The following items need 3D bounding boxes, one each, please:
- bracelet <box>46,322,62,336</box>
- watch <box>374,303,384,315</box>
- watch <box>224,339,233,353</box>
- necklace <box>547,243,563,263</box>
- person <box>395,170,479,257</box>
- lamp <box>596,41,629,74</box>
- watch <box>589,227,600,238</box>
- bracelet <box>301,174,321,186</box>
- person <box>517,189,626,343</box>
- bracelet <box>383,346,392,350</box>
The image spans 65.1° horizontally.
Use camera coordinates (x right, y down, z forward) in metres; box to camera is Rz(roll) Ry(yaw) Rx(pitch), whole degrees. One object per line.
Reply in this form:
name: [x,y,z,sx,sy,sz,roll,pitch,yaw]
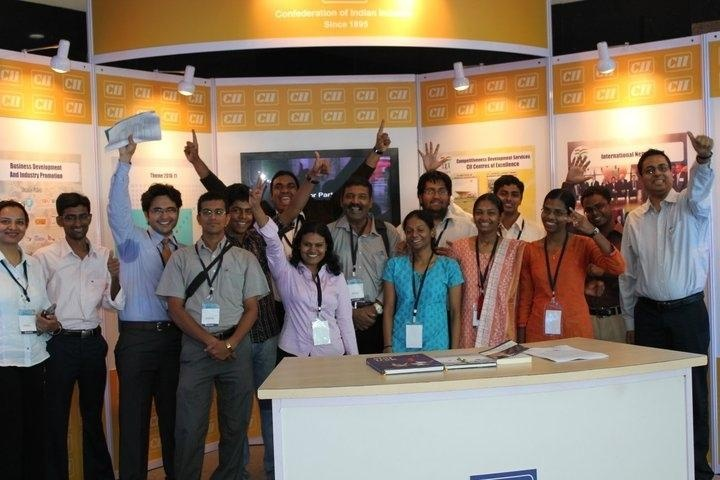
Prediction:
bracelet: [-2.379,0.696,4.419,0.095,0.136,0.049,-2,17,-15]
watch: [0.160,0.587,4.804,0.072,0.095,0.043,-4,-14,-41]
watch: [-0.984,0.807,4.286,0.049,0.076,0.075,-20,-40,-9]
necklace: [1.565,0.106,4.552,0.092,0.120,0.029,-9,-31,20]
person: [0.732,-0.231,5.119,0.704,0.915,0.351,-6,-6,12]
lamp: [2.263,-1.663,5.167,0.166,0.273,0.311,1,6,22]
watch: [1.808,-0.058,4.355,0.085,0.061,0.094,-30,-12,19]
bracelet: [-0.419,-0.523,4.885,0.194,0.080,0.195,0,4,10]
person: [1.645,0.230,4.502,0.758,1.257,0.305,1,5,14]
bracelet: [0.228,0.874,4.564,0.036,0.028,0.037,-3,-7,33]
